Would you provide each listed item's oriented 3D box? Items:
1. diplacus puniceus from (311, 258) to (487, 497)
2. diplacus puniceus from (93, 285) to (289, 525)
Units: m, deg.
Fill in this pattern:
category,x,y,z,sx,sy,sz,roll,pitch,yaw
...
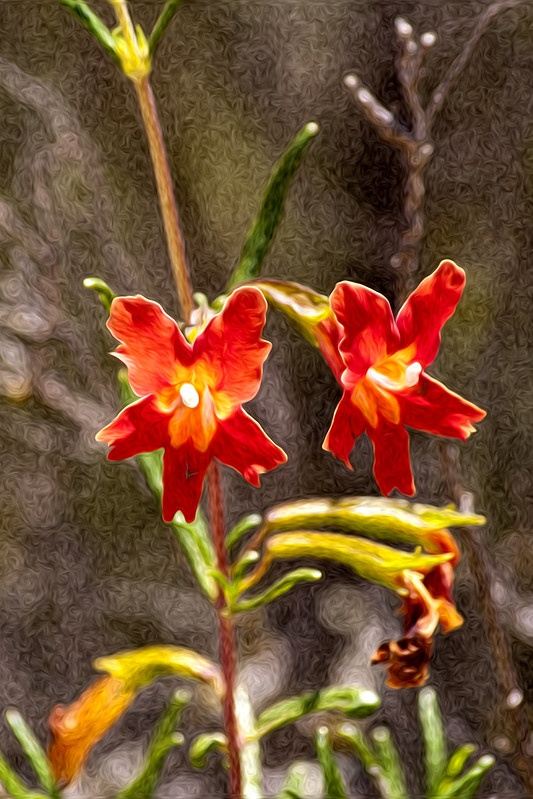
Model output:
category,x,y,z,sx,sy,sz,roll,pitch,yaw
diplacus puniceus,0.117,-0.015,0.717,0.151,0.093,0.185,-10,70,-9
diplacus puniceus,-0.068,-0.005,0.688,0.203,0.065,0.187,5,100,9
